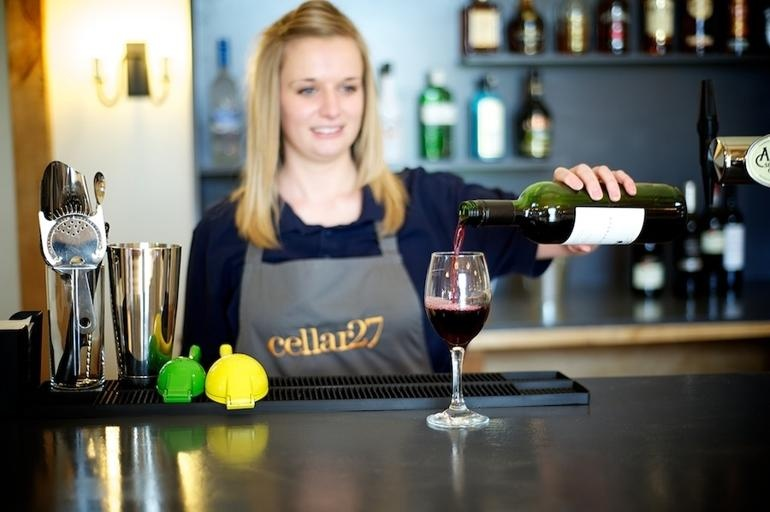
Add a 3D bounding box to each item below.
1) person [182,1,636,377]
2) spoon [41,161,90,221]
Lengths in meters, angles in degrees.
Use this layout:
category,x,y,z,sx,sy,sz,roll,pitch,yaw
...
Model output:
category,x,y,z,sx,sy,sz,roll,pitch,yaw
person,-0.153,-0.191,2.177,0.859,1.045,0.441,-4,7,-16
spoon,-0.625,-0.126,1.506,0.091,0.109,0.020,-1,6,3
